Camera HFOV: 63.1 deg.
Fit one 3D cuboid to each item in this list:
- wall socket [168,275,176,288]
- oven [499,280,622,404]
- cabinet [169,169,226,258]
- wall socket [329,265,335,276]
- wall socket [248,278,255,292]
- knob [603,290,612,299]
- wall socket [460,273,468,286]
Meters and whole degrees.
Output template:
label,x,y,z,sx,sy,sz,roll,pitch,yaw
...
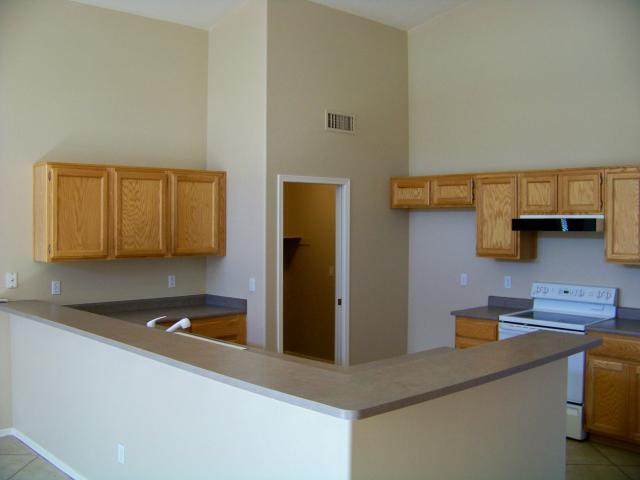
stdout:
label,x,y,z,sx,sy,sz,roll,pitch,yaw
wall socket,-1.631,0.452,5.746,0.083,0.141,0.013,-1,2,-39
oven,2.277,1.018,4.976,0.744,1.187,0.824,-3,2,-38
cabinet,-1.390,-0.291,5.714,0.731,0.906,0.751,1,2,23
wall socket,0.142,0.378,6.549,0.050,0.137,0.028,1,2,9
wall socket,-0.696,0.451,5.325,0.019,0.182,0.129,-3,6,-40
knob,2.672,0.505,4.846,0.021,0.061,0.082,1,-5,-34
wall socket,1.617,0.435,5.852,0.018,0.173,0.118,-5,8,-40
